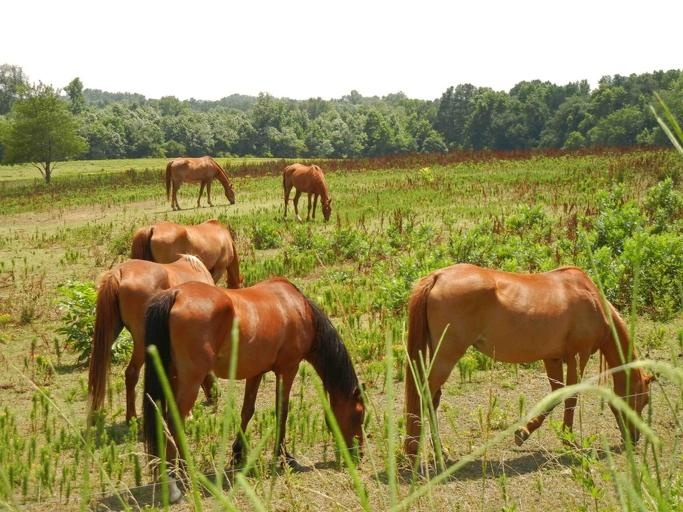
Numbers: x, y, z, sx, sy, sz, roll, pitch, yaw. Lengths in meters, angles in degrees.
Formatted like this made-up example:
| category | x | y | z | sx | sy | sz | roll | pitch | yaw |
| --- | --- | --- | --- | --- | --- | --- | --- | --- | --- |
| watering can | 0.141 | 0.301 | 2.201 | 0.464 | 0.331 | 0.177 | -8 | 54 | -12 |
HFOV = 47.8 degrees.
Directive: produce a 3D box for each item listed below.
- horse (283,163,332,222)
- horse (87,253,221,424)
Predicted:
| category | x | y | z | sx | sy | sz | roll | pitch | yaw |
| --- | --- | --- | --- | --- | --- | --- | --- | --- | --- |
| horse | -1.049 | -1.894 | 23.091 | 0.613 | 1.798 | 2.533 | -3 | 13 | -37 |
| horse | -2.484 | 0.965 | 10.893 | 0.676 | 2.165 | 3.055 | 2 | 0 | 22 |
